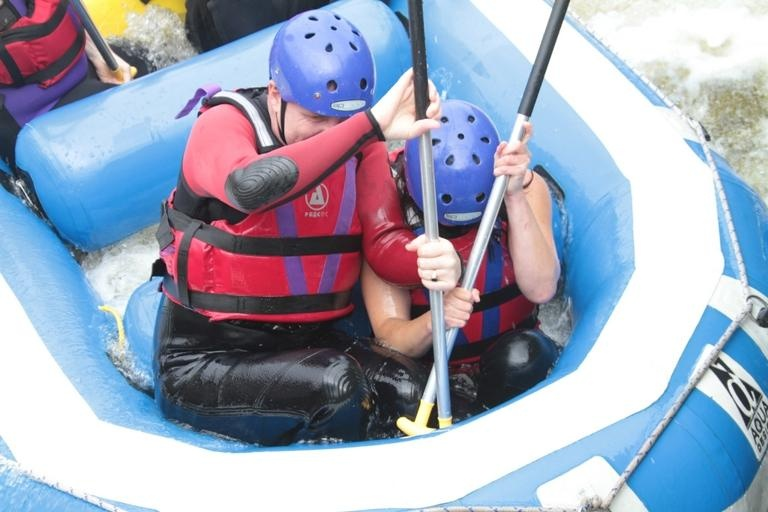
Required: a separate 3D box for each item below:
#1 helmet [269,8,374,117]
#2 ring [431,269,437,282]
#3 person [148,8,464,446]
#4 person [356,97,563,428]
[{"bbox_3d":[-0.212,-0.601,2.445,0.324,0.375,0.408,-15,30,-33],"label":"helmet"},{"bbox_3d":[0.155,0.064,2.252,0.016,0.031,0.028,1,0,3],"label":"ring"},{"bbox_3d":[-0.285,0.090,2.549,1.149,1.697,0.707,17,22,42],"label":"person"},{"bbox_3d":[0.278,0.094,2.539,0.675,1.088,0.881,11,34,21],"label":"person"}]
